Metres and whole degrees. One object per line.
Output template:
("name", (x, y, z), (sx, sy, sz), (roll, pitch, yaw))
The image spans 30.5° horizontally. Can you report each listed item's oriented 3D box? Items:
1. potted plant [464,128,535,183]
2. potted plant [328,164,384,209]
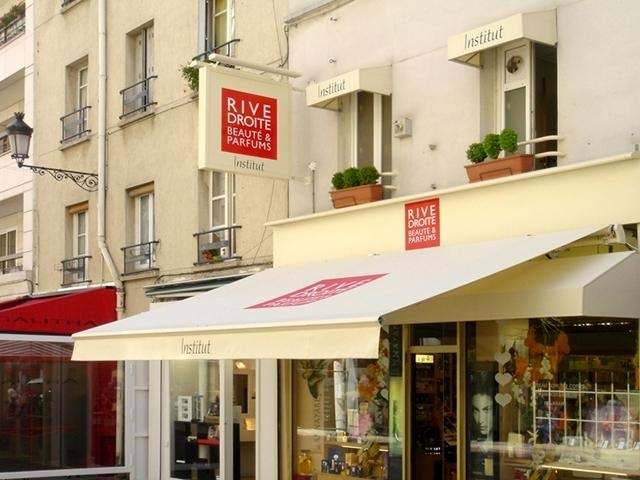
("potted plant", (2.405, -1.122, 15.531), (0.297, 0.517, 0.697), (5, -10, -36))
("potted plant", (0.490, -0.786, 17.078), (0.781, 0.588, 0.386), (-9, -4, 35))
